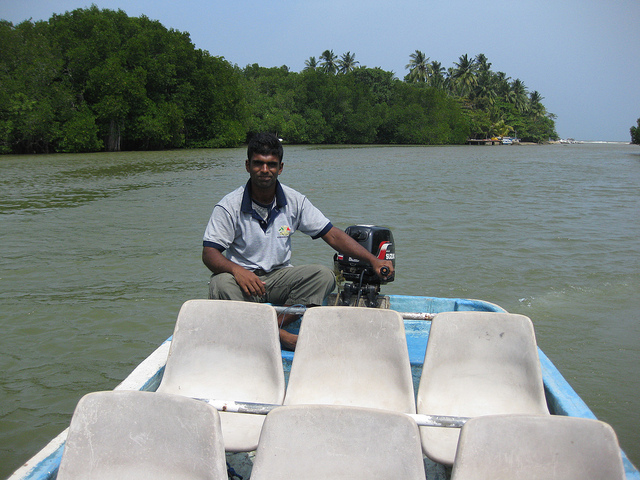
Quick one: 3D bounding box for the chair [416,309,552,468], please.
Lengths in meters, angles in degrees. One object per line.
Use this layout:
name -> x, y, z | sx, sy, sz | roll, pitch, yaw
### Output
chair -> 0.955, 0.752, 3.151 | 0.941, 0.724, 0.840 | 3, 4, 0

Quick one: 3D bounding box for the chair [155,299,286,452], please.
chair -> -0.546, 0.722, 3.204 | 0.690, 0.900, 0.745 | 2, 13, -5

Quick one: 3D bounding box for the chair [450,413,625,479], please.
chair -> 0.916, 0.892, 2.173 | 0.687, 0.285, 0.151 | 1, 15, 3

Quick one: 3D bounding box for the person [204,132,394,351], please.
person -> -0.219, 0.056, 4.218 | 1.545, 1.673, 1.043 | -1, 11, -9
